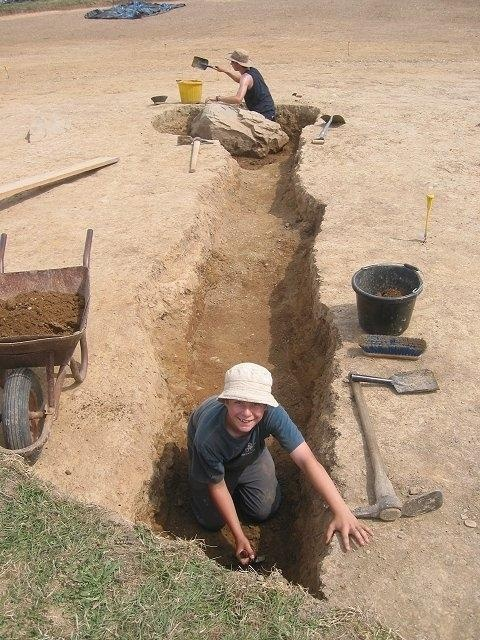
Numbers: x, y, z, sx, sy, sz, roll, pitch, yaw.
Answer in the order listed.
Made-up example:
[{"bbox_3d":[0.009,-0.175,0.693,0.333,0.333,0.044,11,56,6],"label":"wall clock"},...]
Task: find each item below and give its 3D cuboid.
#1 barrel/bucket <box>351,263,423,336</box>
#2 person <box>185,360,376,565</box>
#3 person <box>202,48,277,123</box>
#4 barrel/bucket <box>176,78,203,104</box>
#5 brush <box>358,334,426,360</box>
[{"bbox_3d":[1.007,-0.113,4.425,0.457,0.433,0.454,-3,23,1],"label":"barrel/bucket"},{"bbox_3d":[0.119,0.848,3.558,0.712,1.445,1.148,-11,25,-16],"label":"person"},{"bbox_3d":[0.019,-3.363,9.176,0.841,1.086,0.865,-20,35,-41],"label":"person"},{"bbox_3d":[-0.754,-3.482,9.847,0.323,0.337,0.420,-6,23,-6],"label":"barrel/bucket"},{"bbox_3d":[1.017,0.185,4.288,0.423,0.134,0.185,2,24,12],"label":"brush"}]
